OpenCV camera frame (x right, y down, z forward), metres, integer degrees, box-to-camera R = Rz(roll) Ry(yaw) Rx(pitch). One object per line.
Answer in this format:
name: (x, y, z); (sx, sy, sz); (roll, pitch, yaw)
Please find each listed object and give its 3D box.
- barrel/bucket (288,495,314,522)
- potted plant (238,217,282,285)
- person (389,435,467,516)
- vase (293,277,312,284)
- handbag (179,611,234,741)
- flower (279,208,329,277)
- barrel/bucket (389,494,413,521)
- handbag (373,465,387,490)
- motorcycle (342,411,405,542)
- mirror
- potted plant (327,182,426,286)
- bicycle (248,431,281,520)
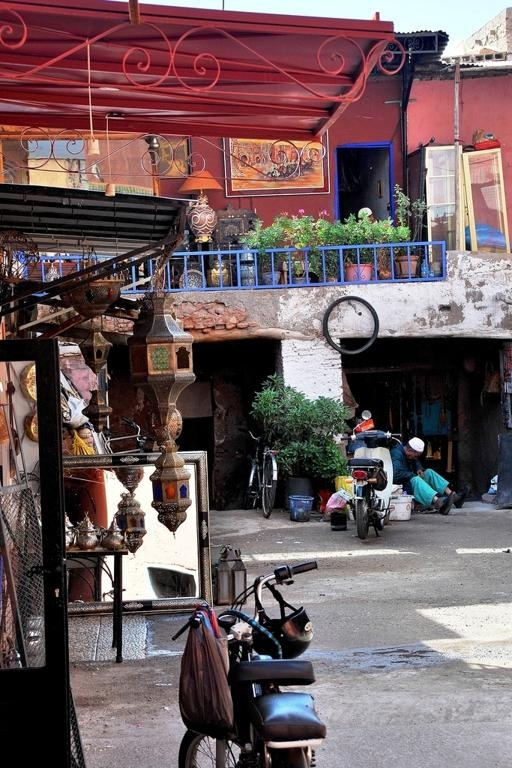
barrel/bucket: (0.525, 1.485, 14.766); (0.278, 0.252, 0.265); (4, -7, 1)
potted plant: (0.080, -1.697, 16.272); (0.410, 0.987, 0.475); (-1, 6, -33)
person: (2.105, 1.189, 15.098); (0.728, 1.048, 0.678); (3, 6, 21)
vase: (0.603, -1.342, 16.138); (0.233, 0.132, 0.329); (-2, -1, 2)
handbag: (-0.206, 1.142, 4.964); (0.205, 0.432, 0.224); (-2, -1, -4)
flower: (0.707, -1.951, 16.408); (0.463, 1.066, 0.537); (-5, 7, -40)
barrel/bucket: (1.669, 1.434, 14.306); (0.256, 0.227, 0.284); (0, -7, -5)
handbag: (1.303, 0.979, 12.918); (0.153, 0.211, 0.177); (3, 13, 5)
motorcycle: (1.215, 1.017, 13.143); (0.445, 1.078, 1.357); (-1, -1, 16)
mirror: (-0.793, 0.977, 8.042); (1.189, 1.272, 0.134); (-1, 3, -4)
potted plant: (1.873, -1.905, 16.856); (1.444, 1.731, 0.596); (2, 8, 36)
bicycle: (0.090, 1.180, 15.701); (0.367, 1.010, 0.429); (2, 5, 4)
